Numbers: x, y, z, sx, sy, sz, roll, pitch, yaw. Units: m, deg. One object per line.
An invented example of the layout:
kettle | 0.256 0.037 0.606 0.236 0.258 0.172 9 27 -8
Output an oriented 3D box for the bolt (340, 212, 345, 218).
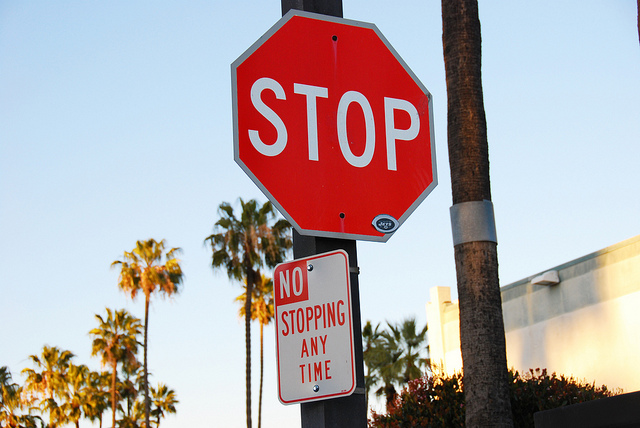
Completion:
bolt | 0.244 0.011 8.987 0.043 0.058 0.012 0 -2 -1
